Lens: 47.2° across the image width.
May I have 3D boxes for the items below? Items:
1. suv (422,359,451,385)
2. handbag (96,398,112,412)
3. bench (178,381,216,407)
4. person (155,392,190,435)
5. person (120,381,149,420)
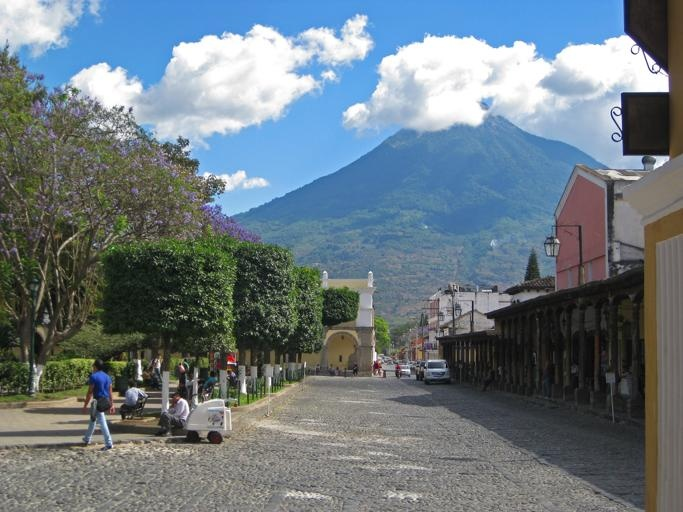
[{"bbox_3d":[6.937,8.335,56.476,1.752,1.775,2.007,-4,-12,6],"label":"suv"},{"bbox_3d":[-5.418,3.413,17.867,0.368,0.270,0.458,-2,-8,-3],"label":"handbag"},{"bbox_3d":[-4.467,4.376,24.329,1.457,0.983,0.760,0,0,-3],"label":"bench"},{"bbox_3d":[-4.346,4.042,20.156,0.775,1.082,0.746,0,-11,-14],"label":"person"},{"bbox_3d":[-6.257,4.325,23.441,0.621,1.128,1.504,-1,-12,-7],"label":"person"}]
